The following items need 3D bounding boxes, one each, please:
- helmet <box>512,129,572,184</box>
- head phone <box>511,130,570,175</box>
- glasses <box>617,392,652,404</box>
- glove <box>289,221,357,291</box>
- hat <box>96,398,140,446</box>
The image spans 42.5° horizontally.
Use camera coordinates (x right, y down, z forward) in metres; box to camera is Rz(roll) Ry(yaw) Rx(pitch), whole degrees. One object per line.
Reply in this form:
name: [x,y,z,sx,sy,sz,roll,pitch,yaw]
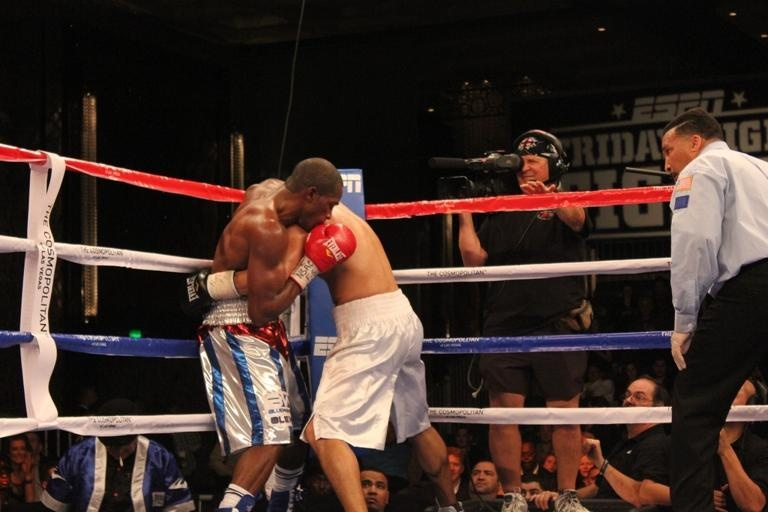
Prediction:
helmet: [0.992,-0.641,6.248,0.302,0.329,0.359,-11,12,32]
head phone: [0.997,-0.613,6.009,0.271,0.227,0.281,11,-25,-27]
glasses: [1.644,0.917,6.374,0.153,0.076,0.107,-7,6,-32]
glove: [-0.332,0.013,5.428,0.284,0.371,0.162,29,-1,3]
hat: [-1.657,0.983,6.129,0.260,0.256,0.325,2,24,-6]
